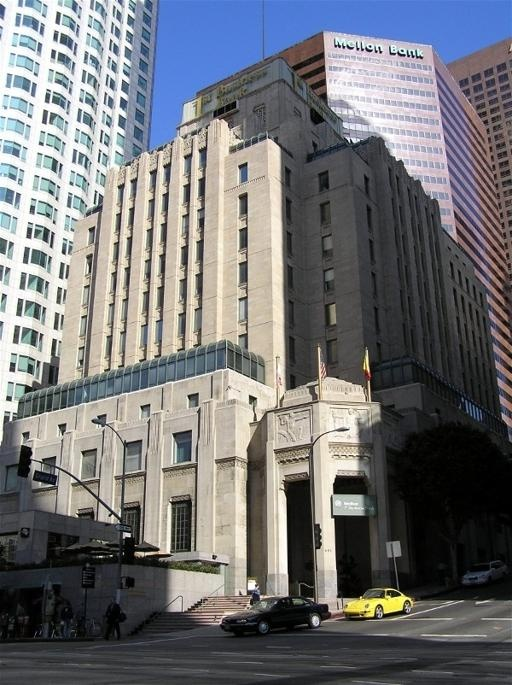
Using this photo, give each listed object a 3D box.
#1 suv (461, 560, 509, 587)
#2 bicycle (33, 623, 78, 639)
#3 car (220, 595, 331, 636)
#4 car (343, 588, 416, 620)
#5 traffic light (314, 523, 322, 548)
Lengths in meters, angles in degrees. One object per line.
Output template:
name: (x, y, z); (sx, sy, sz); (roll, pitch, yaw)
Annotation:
suv: (15.410, 15.658, 43.129); (1.630, 1.521, 4.287); (-17, -24, 36)
bicycle: (-9.954, 14.383, 31.616); (2.044, 0.753, 1.422); (22, -36, -37)
car: (0.800, 11.786, 28.085); (4.850, 1.440, 1.905); (14, -27, -37)
car: (6.017, 12.593, 30.521); (1.468, 1.059, 3.188); (-26, -32, 36)
traffic light: (3.589, 11.550, 37.983); (0.377, 1.387, 0.367); (-9, -21, 18)
